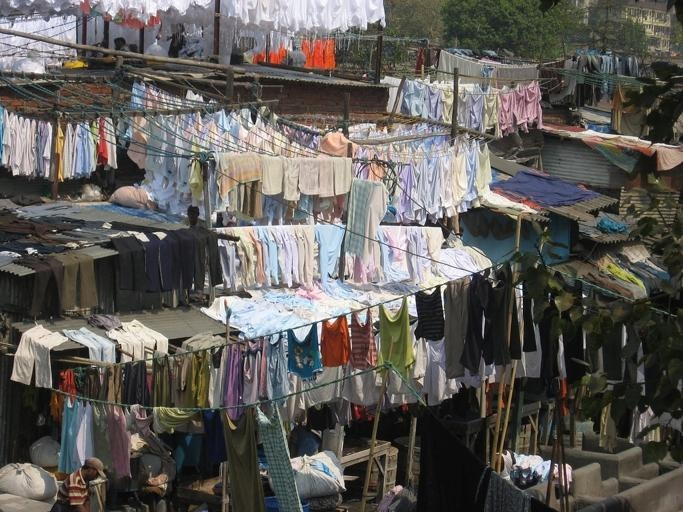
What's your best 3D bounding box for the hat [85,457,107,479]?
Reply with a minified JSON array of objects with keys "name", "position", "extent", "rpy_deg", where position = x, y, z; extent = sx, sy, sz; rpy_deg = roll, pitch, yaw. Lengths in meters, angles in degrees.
[{"name":"hat","position":[-4.053,3.450,22.171],"extent":[0.330,0.451,0.497],"rpy_deg":[3,9,-8]}]
